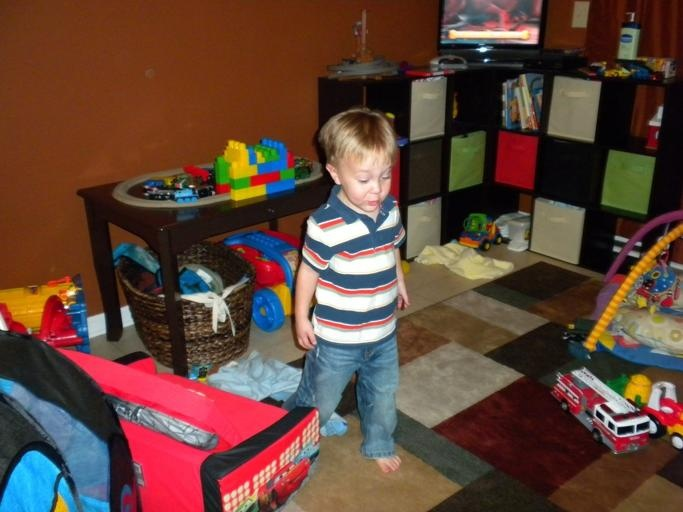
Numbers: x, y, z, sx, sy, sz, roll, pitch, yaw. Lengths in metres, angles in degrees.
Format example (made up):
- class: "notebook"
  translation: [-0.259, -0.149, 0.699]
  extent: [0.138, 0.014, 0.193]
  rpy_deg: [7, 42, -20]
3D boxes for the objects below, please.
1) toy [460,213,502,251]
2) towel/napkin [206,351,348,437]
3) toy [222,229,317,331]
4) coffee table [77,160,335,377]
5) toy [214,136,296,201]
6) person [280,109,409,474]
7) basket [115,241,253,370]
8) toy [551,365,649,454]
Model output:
- class: "toy"
  translation: [1.106, -0.218, 4.250]
  extent: [0.241, 0.251, 0.346]
  rpy_deg: [18, 32, 35]
- class: "towel/napkin"
  translation: [-0.375, 0.636, 2.628]
  extent: [0.499, 0.132, 0.340]
  rpy_deg: [17, 22, 30]
- class: "toy"
  translation: [-0.473, 0.083, 3.264]
  extent: [0.545, 0.310, 0.530]
  rpy_deg: [28, 36, 30]
- class: "coffee table"
  translation: [-0.702, -0.006, 3.218]
  extent: [0.924, 0.930, 1.265]
  rpy_deg: [21, 30, 39]
- class: "toy"
  translation: [-0.463, -0.491, 2.891]
  extent: [0.411, 0.270, 0.216]
  rpy_deg: [-17, 28, -39]
- class: "person"
  translation: [-0.010, 0.180, 2.091]
  extent: [0.537, 1.437, 0.413]
  rpy_deg: [3, 20, 11]
- class: "basket"
  translation: [-0.860, 0.237, 2.979]
  extent: [0.776, 0.508, 0.642]
  rpy_deg: [20, 31, 41]
- class: "toy"
  translation: [1.171, 0.694, 2.444]
  extent: [0.203, 0.181, 0.397]
  rpy_deg: [-14, 28, -23]
